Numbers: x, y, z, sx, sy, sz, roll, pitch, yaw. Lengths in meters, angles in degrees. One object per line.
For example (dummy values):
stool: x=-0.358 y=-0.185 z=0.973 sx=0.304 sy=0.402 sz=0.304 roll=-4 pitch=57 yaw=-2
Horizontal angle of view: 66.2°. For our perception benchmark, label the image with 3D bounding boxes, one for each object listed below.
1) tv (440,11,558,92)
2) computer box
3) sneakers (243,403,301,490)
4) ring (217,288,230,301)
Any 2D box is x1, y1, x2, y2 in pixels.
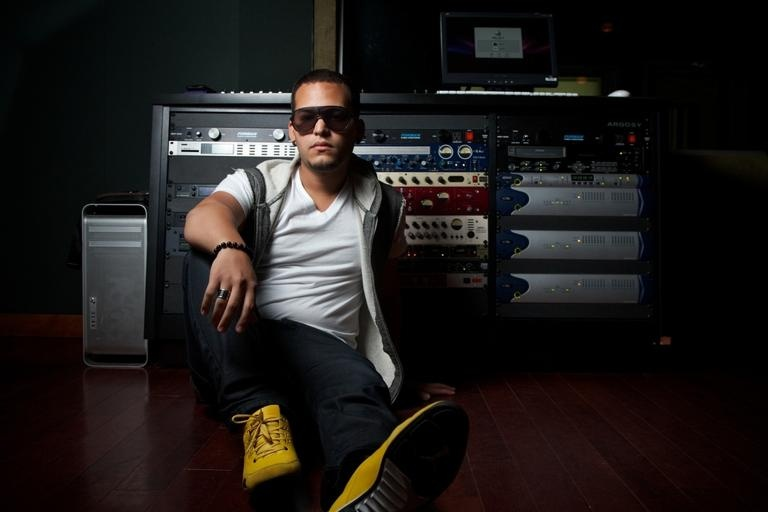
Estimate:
tv: x=0.662 y=-1.191 z=3.401 sx=0.685 sy=0.423 sz=0.086 roll=-2 pitch=4 yaw=-6
computer box: x=-1.433 y=0.130 z=3.143 sx=0.388 sy=0.911 sz=0.287 roll=-3 pitch=8 yaw=-12
sneakers: x=-0.426 y=0.722 z=2.216 sx=0.205 sy=0.274 sz=0.169 roll=-3 pitch=8 yaw=-9
ring: x=-0.617 y=0.149 z=2.259 sx=0.045 sy=0.038 sz=0.042 roll=5 pitch=-10 yaw=1
